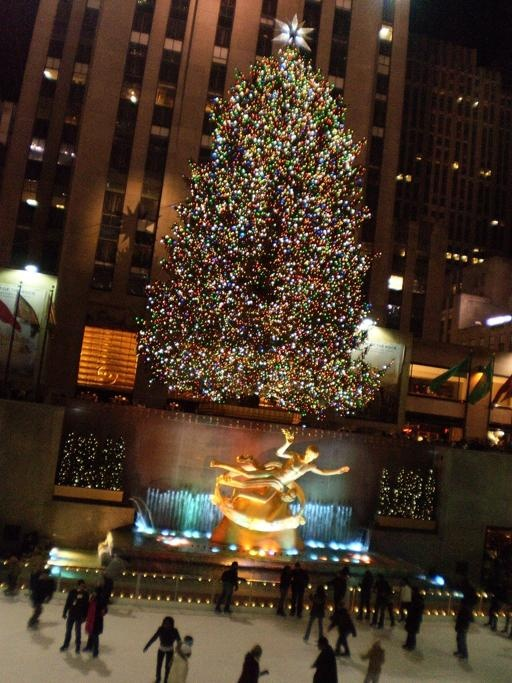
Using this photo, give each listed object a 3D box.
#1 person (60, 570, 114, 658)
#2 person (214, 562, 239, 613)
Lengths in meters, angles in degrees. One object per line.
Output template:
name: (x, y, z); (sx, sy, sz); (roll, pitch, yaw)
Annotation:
person: (-2.665, 4.310, 9.878); (0.673, 1.214, 0.435); (6, -1, 31)
person: (-0.567, 4.939, 12.871); (0.411, 1.005, 0.612); (7, -1, -1)
